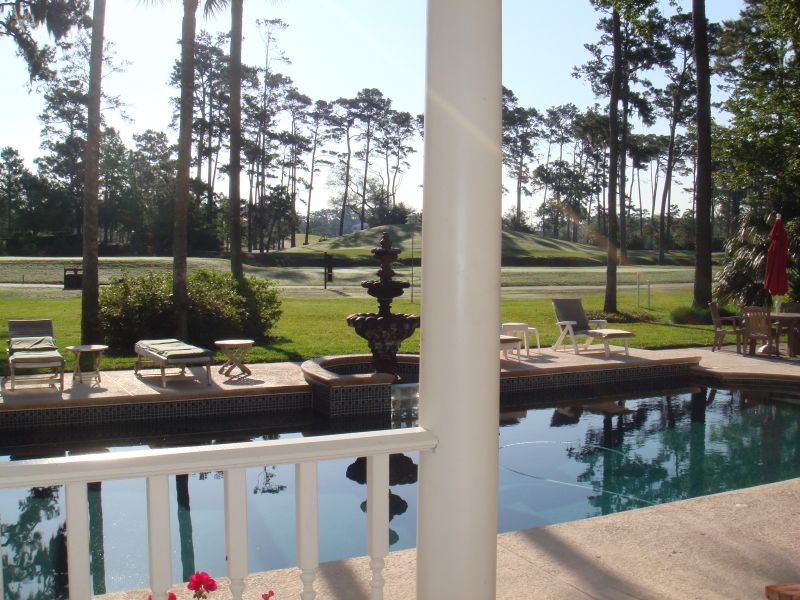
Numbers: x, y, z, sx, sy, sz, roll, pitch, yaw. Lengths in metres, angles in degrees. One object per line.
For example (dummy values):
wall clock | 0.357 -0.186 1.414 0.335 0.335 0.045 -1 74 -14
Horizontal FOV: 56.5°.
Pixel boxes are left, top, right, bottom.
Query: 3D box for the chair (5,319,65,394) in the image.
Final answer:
chair | -5.445 0.799 10.997 0.828 1.037 1.464 -1 1 -24

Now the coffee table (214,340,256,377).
coffee table | -2.698 0.978 12.148 0.686 0.653 0.671 0 3 -15

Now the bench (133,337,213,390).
bench | -3.621 0.949 11.748 1.061 0.570 1.861 -1 3 -25
